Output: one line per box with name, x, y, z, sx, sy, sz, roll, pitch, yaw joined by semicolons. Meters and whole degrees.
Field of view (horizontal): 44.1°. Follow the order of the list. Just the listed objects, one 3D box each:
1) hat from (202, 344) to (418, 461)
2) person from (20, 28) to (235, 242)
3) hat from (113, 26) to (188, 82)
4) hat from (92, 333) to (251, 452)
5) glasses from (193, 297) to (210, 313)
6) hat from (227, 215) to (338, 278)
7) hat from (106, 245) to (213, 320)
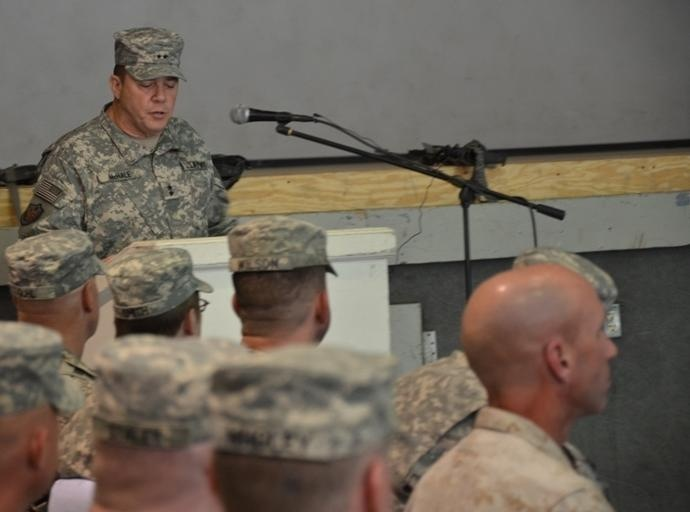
hat;-0.077;0.209;1.307;0.238;0.116;0.168;-3;-1;-7
person;-0.862;-0.405;3.605;0.533;0.978;1.075;17;23;37
hat;-0.788;-0.832;3.469;0.308;0.165;0.353;-8;29;-33
hat;-0.261;0.242;1.446;0.326;0.152;0.230;5;-8;-36
glasses;-0.403;0.136;2.373;0.040;0.038;0.012;2;-10;-2
hat;-0.168;-0.016;2.092;0.145;0.102;0.196;-4;-10;43
hat;-0.505;0.053;2.298;0.222;0.142;0.300;9;19;41
